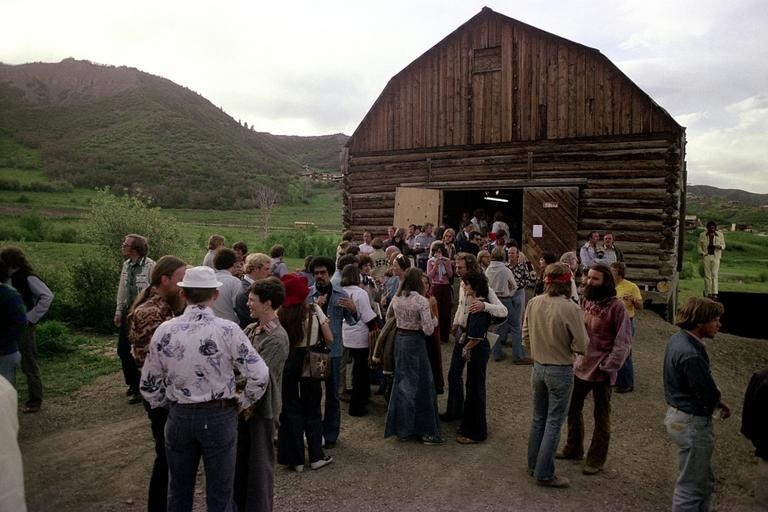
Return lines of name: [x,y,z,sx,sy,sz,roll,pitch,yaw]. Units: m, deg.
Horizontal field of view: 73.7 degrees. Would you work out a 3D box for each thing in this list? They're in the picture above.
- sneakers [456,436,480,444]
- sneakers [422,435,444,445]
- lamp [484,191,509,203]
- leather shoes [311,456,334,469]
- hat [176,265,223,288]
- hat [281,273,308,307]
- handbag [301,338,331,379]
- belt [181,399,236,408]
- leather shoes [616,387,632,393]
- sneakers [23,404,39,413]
sneakers: [1.328,2.971,8.271,0.299,0.089,0.130,8,-2,0]
sneakers: [0.790,2.933,8.237,0.354,0.156,0.130,0,-1,6]
lamp: [4.953,-2.649,23.154,0.777,0.518,0.178,1,2,-31]
leather shoes: [-0.928,3.070,7.666,0.116,0.139,0.331,2,13,45]
hat: [-2.295,0.266,6.325,0.408,0.164,0.450,1,-3,-38]
hat: [-1.258,0.484,7.261,0.366,0.427,0.278,0,3,-11]
handbag: [-0.939,1.555,7.306,0.377,0.369,0.181,11,-12,-42]
belt: [-1.992,1.694,5.890,0.526,0.120,0.064,0,3,-15]
leather shoes: [4.824,2.691,10.350,0.330,0.142,0.123,2,-19,-4]
sneakers: [-6.810,2.930,9.905,0.202,0.089,0.151,1,-2,4]
